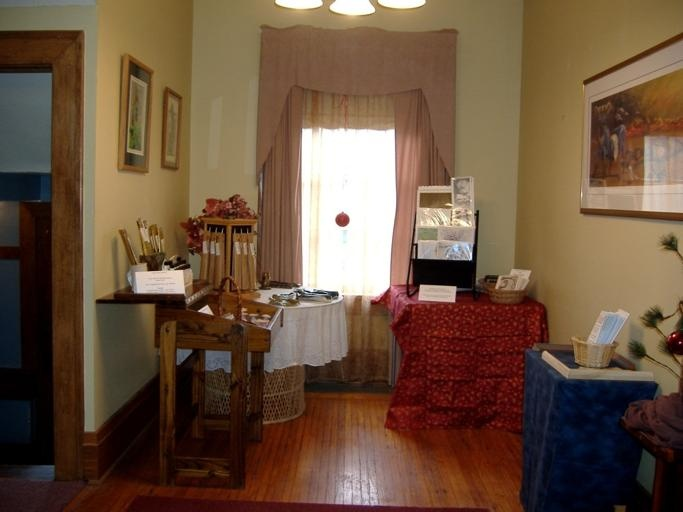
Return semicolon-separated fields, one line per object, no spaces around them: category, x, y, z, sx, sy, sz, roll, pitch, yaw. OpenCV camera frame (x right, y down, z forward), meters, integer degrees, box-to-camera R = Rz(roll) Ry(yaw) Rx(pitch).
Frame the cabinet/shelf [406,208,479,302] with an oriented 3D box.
cabinet/shelf;0.859;-0.012;4.366;0.565;0.803;0.500;2;-6;2

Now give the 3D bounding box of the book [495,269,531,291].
book;1.345;0.185;4.125;0.189;0.209;0.071;14;-7;41

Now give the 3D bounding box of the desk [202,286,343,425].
desk;-0.517;0.663;4.182;0.929;0.803;0.954;-1;3;-17

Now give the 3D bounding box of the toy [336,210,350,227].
toy;0.029;-0.332;4.722;0.111;0.149;0.119;3;37;18

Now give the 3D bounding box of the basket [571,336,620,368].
basket;1.386;0.504;2.867;0.154;0.103;0.160;-1;4;-28

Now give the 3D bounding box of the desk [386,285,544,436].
desk;0.916;0.722;4.034;0.943;0.819;1.019;1;2;0
